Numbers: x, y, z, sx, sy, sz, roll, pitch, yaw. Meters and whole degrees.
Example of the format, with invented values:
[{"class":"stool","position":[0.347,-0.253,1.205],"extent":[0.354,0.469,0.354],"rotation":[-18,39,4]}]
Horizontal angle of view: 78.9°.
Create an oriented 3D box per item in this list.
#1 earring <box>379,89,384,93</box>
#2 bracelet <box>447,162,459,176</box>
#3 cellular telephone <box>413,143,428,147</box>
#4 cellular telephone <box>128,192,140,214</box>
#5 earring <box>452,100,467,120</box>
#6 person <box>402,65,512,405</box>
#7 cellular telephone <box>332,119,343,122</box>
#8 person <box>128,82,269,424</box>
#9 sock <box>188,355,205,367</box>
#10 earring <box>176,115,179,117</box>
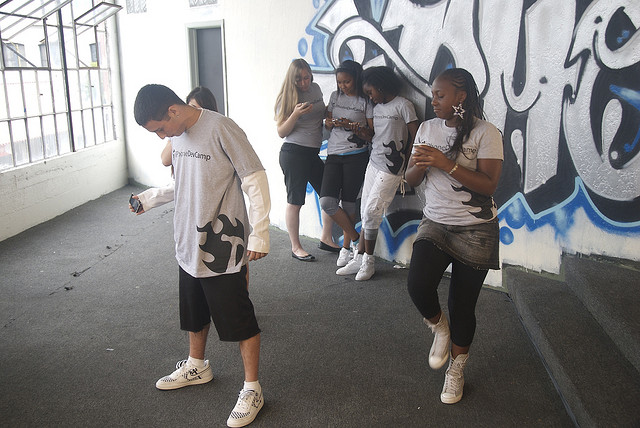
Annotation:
[{"class":"earring","position":[0.652,-1.301,4.127],"extent":[0.055,0.033,0.010],"rotation":[-9,22,-19]},{"class":"bracelet","position":[0.887,-0.287,2.608],"extent":[0.066,0.101,0.097],"rotation":[7,23,21]},{"class":"cellular telephone","position":[0.708,-0.486,2.751],"extent":[0.058,0.020,0.060],"rotation":[-2,12,-5]},{"class":"cellular telephone","position":[-1.376,-0.069,2.893],"extent":[0.059,0.108,0.115],"rotation":[-14,25,-30]},{"class":"earring","position":[0.939,-0.707,2.630],"extent":[0.093,0.096,0.013],"rotation":[38,13,5]},{"class":"person","position":[0.973,0.149,2.790],"extent":[0.718,2.274,0.729],"rotation":[-2,7,3]},{"class":"cellular telephone","position":[0.194,-1.063,4.422],"extent":[0.115,0.026,0.042],"rotation":[10,25,27]},{"class":"person","position":[-0.826,0.243,2.746],"extent":[1.117,2.184,0.744],"rotation":[16,27,37]},{"class":"sock","position":[-0.919,1.123,2.956],"extent":[0.142,0.064,0.053],"rotation":[19,11,-14]},{"class":"earring","position":[-0.918,-0.632,2.509],"extent":[0.011,0.012,0.012],"rotation":[-2,-2,12]}]
